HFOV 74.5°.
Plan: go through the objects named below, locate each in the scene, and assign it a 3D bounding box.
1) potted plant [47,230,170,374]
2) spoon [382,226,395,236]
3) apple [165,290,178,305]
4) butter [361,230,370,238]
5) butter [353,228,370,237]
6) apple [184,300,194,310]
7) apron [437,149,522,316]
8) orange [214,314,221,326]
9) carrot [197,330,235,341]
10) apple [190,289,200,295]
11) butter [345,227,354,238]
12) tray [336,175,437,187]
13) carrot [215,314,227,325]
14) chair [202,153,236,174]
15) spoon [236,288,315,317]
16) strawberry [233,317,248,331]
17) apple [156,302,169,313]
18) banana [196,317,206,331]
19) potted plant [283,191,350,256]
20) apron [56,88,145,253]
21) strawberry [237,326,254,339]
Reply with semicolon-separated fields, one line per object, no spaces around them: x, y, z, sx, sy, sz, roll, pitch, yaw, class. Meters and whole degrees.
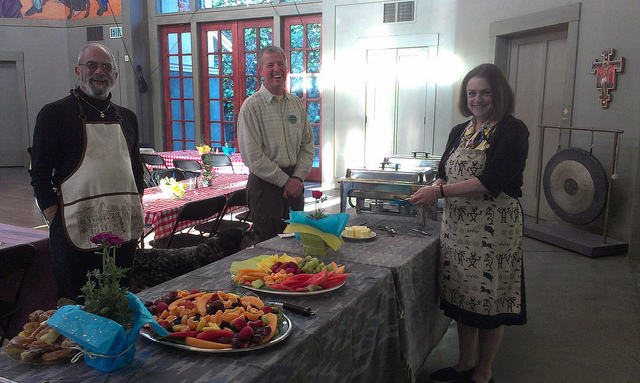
-0.944;0.489;1.884;0.527;0.555;0.573;0;-1;-31;potted plant
0.487;0.288;3.018;0.028;0.038;0.118;7;22;-42;spoon
-0.733;0.525;2.070;0.034;0.063;0.024;25;-36;-3;apple
0.306;0.296;2.871;0.045;0.029;0.044;-6;6;-28;butter
0.270;0.278;2.901;0.073;0.017;0.066;1;8;7;butter
-0.620;0.540;1.999;0.036;0.039;0.033;0;-26;20;apple
1.144;0.304;2.902;0.449;1.145;0.682;-2;3;-23;apron
-0.476;0.594;1.951;0.026;0.046;0.025;1;13;13;orange
-0.478;0.652;1.907;0.074;0.018;0.076;-6;-8;41;carrot
-0.634;0.507;2.126;0.047;0.016;0.064;-5;12;-18;apple
0.197;0.283;2.883;0.058;0.050;0.057;-2;-1;22;butter
0.485;-0.072;3.144;0.720;0.056;0.209;2;12;16;tray
-0.462;0.600;1.966;0.045;0.038;0.034;29;-29;-18;carrot
-1.387;-0.416;5.715;0.251;0.392;0.288;3;31;4;chair
-0.220;0.568;2.126;0.415;0.041;0.051;9;3;9;spoon
-0.368;0.610;1.938;0.037;0.049;0.049;43;18;-18;strawberry
-0.753;0.553;1.999;0.046;0.051;0.042;-21;22;-24;apple
-0.547;0.613;1.933;0.019;0.049;0.037;33;-14;-16;banana
-0.026;0.185;2.778;0.409;0.363;0.401;2;6;-2;potted plant
-1.496;-0.031;2.957;0.504;1.350;0.452;-2;-4;-10;apron
-0.338;0.641;1.909;0.061;0.035;0.045;-14;-3;0;strawberry
